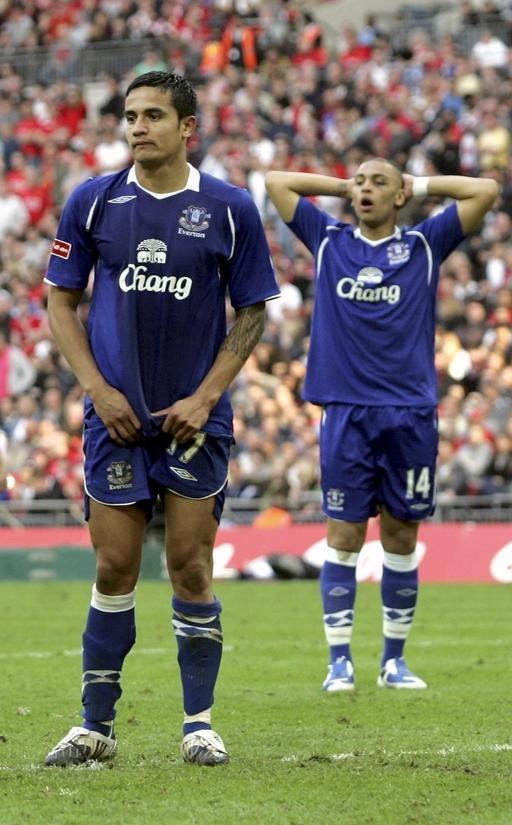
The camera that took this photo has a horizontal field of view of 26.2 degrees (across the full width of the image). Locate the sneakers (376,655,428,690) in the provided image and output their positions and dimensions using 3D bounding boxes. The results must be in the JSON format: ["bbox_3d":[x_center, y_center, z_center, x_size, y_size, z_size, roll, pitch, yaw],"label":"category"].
[{"bbox_3d":[0.620,1.127,4.721,0.102,0.082,0.190,3,-4,-35],"label":"sneakers"}]

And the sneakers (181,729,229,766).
[{"bbox_3d":[-0.145,0.981,3.170,0.123,0.079,0.151,-1,11,-12],"label":"sneakers"}]

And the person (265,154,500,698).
[{"bbox_3d":[0.569,0.087,4.780,0.814,2.324,0.898,1,12,-2],"label":"person"}]

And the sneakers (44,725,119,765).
[{"bbox_3d":[-0.493,0.964,3.199,0.230,0.087,0.080,0,-5,-28],"label":"sneakers"}]
